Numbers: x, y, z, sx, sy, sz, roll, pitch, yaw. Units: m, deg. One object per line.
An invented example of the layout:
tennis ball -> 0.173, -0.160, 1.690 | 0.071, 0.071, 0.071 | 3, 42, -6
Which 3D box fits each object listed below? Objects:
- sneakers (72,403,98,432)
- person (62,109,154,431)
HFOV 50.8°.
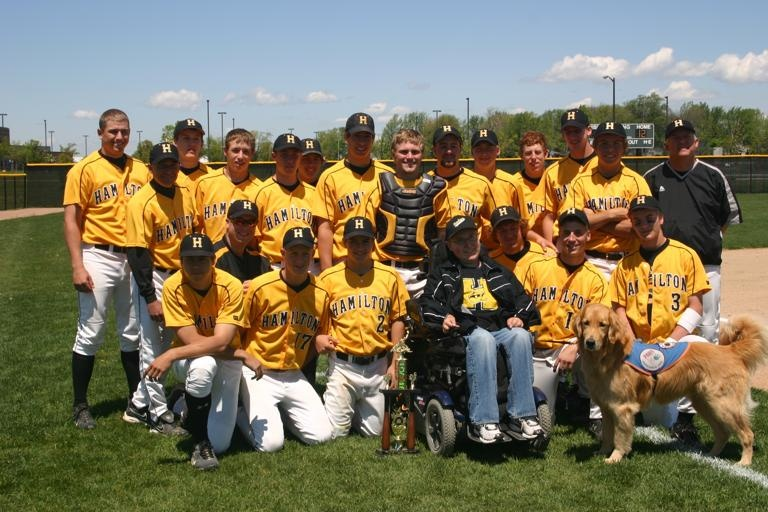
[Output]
sneakers -> -3.628, 1.935, 9.804 | 0.213, 0.241, 0.372 | -5, 8, -41
person -> -3.413, 0.115, 10.008 | 0.967, 3.793, 0.698 | -3, 7, -29
